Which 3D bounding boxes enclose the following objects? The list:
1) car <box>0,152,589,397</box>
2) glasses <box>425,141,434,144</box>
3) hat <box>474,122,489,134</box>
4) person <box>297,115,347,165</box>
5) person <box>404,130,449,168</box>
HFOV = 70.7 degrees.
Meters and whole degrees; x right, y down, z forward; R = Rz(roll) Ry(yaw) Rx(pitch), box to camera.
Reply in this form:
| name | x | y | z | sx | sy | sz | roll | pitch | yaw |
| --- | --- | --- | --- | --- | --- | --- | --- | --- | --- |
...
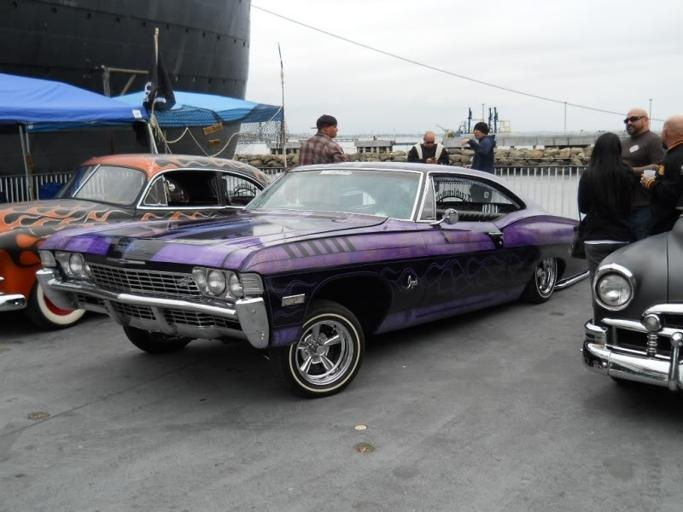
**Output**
| name | x | y | z | sx | sy | sz | roll | pitch | yaw |
| --- | --- | --- | --- | --- | --- | --- | --- | --- | --- |
| car | 0.530 | -0.129 | 5.712 | 6.659 | 1.911 | 2.279 | -9 | 12 | -42 |
| glasses | 1.945 | -2.474 | 10.586 | 0.225 | 0.044 | 0.086 | -9 | 11 | -42 |
| hat | 3.062 | -2.794 | 10.550 | 0.287 | 0.265 | 0.484 | 1 | 9 | 16 |
| person | -0.324 | -2.019 | 8.599 | 0.598 | 0.920 | 1.081 | -15 | 32 | -33 |
| person | 1.926 | -2.166 | 10.633 | 0.939 | 1.111 | 0.673 | -2 | 30 | 3 |
